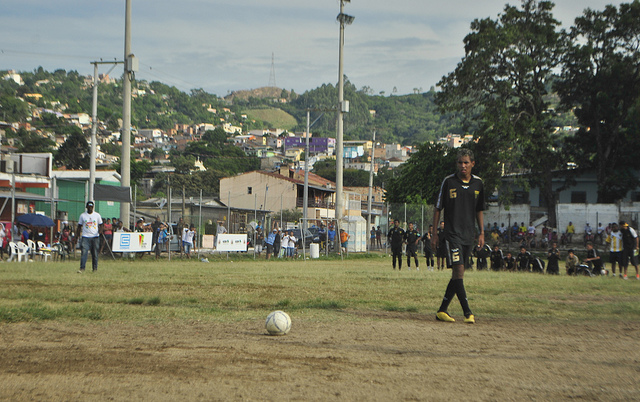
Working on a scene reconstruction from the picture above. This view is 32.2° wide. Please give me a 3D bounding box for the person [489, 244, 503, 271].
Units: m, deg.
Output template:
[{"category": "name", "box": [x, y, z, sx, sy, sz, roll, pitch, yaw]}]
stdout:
[{"category": "person", "box": [13.940, 4.563, 87.329, 0.929, 2.055, 0.903, 0, -4, 9]}]
